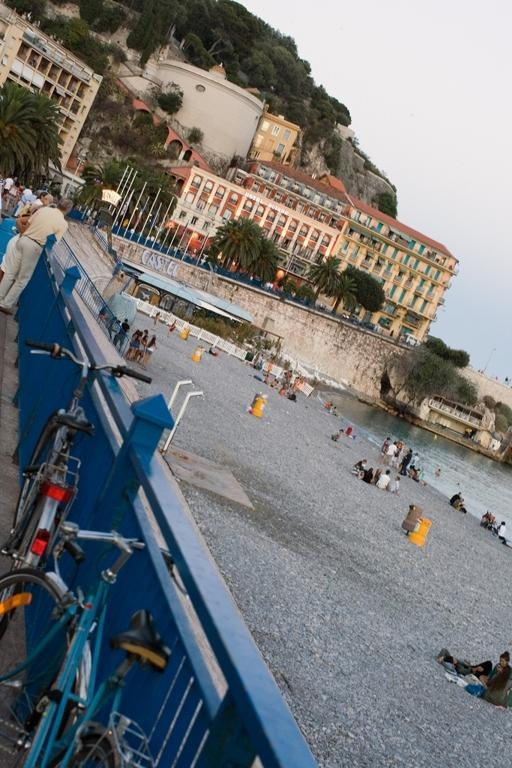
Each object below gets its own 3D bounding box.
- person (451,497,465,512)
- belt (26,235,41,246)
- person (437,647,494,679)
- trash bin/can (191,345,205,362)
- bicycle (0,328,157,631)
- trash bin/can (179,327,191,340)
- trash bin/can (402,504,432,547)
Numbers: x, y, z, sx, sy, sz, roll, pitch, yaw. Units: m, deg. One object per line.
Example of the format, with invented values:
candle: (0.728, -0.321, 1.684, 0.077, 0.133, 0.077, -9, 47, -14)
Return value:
person: (11.910, 7.233, 30.827, 0.736, 0.432, 1.023, 8, 49, -6)
belt: (-3.364, -2.180, 7.901, 0.221, 0.114, 0.064, 30, 1, -4)
person: (4.062, 5.498, 10.147, 0.881, 0.377, 0.553, 5, -6, 2)
trash bin/can: (-3.553, -1.849, 31.661, 0.808, 0.957, 0.863, 17, 35, -8)
bicycle: (-0.958, 0.393, 3.041, 0.665, 1.027, 1.622, 28, 9, -12)
trash bin/can: (-5.412, -3.817, 38.953, 0.657, 1.208, 0.680, 17, 51, -8)
trash bin/can: (5.530, 4.865, 17.873, 0.774, 1.453, 0.800, 28, 1, 35)
